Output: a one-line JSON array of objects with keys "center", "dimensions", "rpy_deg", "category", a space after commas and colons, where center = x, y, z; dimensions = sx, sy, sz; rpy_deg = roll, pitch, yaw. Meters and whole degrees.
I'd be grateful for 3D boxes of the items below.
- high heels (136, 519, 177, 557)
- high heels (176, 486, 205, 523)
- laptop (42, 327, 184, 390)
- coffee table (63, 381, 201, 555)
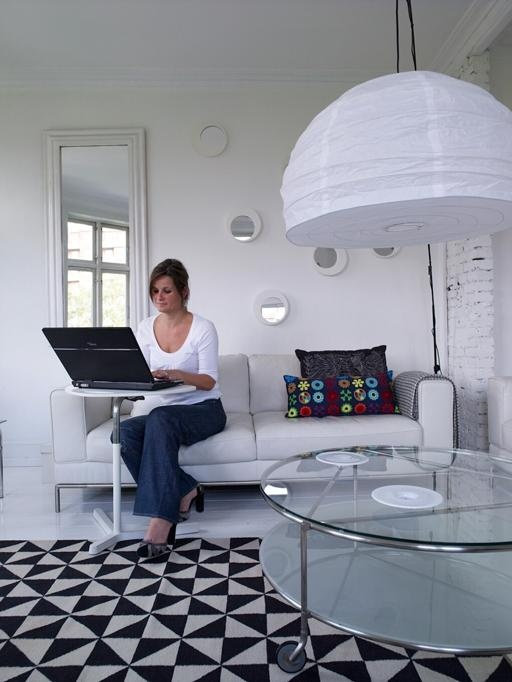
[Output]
[{"center": [-0.373, 0.764, 2.255], "dimensions": [0.068, 0.066, 0.179], "rpy_deg": [-5, -16, 15], "category": "high heels"}, {"center": [-0.282, 0.696, 2.614], "dimensions": [0.069, 0.071, 0.180], "rpy_deg": [-2, -6, 11], "category": "high heels"}, {"center": [-0.572, 0.065, 2.269], "dimensions": [0.461, 0.245, 0.240], "rpy_deg": [1, 4, 22], "category": "laptop"}, {"center": [-0.326, 0.484, 2.433], "dimensions": [0.627, 0.627, 0.635], "rpy_deg": [1, -1, 3], "category": "coffee table"}]
